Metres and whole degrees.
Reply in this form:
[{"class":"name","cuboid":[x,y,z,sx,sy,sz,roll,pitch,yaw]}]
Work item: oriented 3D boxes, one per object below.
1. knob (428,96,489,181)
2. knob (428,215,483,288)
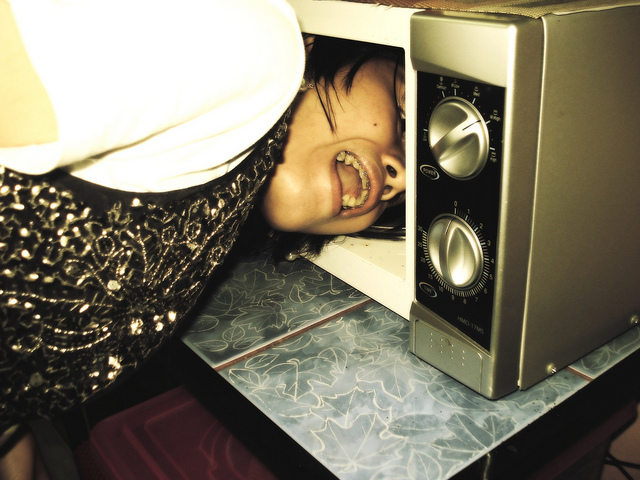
[{"class":"knob","cuboid":[0.135,-0.108,0.557,0.069,0.070,0.071,-15,20,-31]},{"class":"knob","cuboid":[0.145,0.011,0.571,0.020,0.079,0.069,-19,14,-31]}]
